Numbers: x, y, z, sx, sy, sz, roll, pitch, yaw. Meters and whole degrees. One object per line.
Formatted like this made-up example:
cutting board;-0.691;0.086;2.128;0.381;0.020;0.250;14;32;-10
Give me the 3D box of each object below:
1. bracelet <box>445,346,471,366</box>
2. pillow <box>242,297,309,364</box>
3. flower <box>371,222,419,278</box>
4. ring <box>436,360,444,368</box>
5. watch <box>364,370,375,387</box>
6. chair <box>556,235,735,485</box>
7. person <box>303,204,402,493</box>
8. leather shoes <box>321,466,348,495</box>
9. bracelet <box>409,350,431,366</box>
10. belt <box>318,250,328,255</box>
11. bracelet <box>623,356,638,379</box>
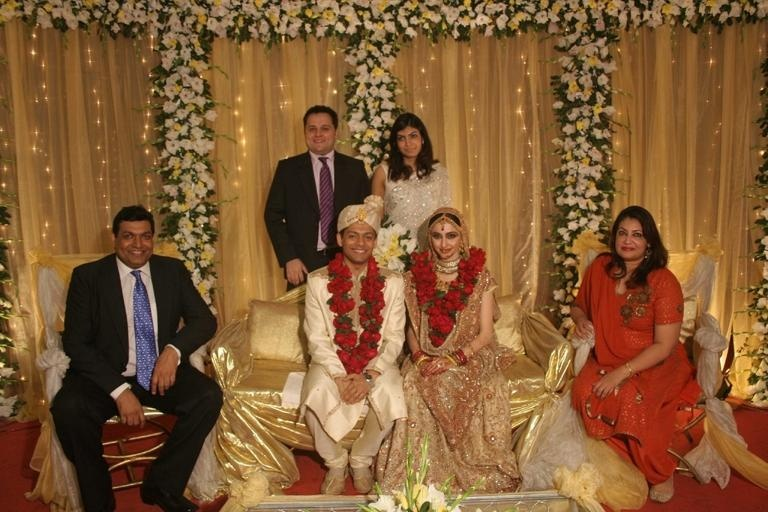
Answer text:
bracelet;0.550;0.741;4.591;0.050;0.122;0.124;-48;-33;18
pillow;-0.876;0.600;4.899;0.446;0.470;0.138;1;-8;-2
flower;0.052;-0.124;4.984;0.125;0.309;0.303;38;-2;-37
ring;0.410;0.785;4.530;0.044;0.044;0.011;-40;-6;-8
watch;-0.104;0.870;4.422;0.086;0.087;0.040;-33;-6;-11
chair;1.824;0.740;4.533;0.872;1.630;0.754;1;9;18
person;-0.219;0.820;4.499;0.749;1.603;0.665;-2;8;2
leather shoes;-0.353;1.575;4.377;0.126;0.187;0.183;6;12;44
bracelet;0.268;0.762;4.641;0.100;0.068;0.110;-25;-8;-26
belt;-0.502;-0.020;5.222;0.042;0.057;0.054;3;-3;-14
bracelet;1.763;0.810;4.455;0.080;0.121;0.043;3;4;-24
